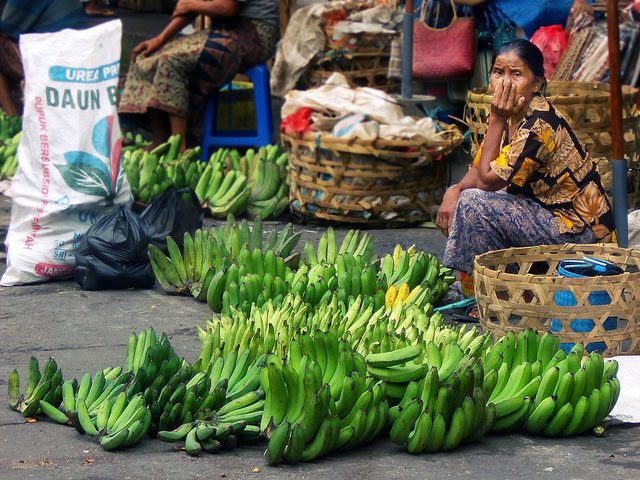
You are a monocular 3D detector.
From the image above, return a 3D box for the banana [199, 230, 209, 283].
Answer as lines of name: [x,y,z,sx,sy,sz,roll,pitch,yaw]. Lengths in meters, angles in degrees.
banana: [-0.708,0.097,5.014,0.057,0.301,0.095,-1,7,-22]

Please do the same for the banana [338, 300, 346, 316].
banana: [0.122,0.361,4.249,0.032,0.090,0.024,-2,29,3]

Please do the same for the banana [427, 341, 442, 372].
banana: [0.513,0.509,3.624,0.038,0.154,0.049,-8,0,27]

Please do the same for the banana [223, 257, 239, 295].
banana: [-0.510,0.204,4.717,0.047,0.196,0.063,16,-16,9]

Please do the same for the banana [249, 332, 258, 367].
banana: [-0.305,0.511,3.792,0.047,0.146,0.029,12,8,29]

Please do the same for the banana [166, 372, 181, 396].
banana: [-0.627,0.614,3.528,0.030,0.119,0.041,31,-37,-11]

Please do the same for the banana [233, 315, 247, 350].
banana: [-0.370,0.439,3.919,0.034,0.178,0.062,22,-14,1]

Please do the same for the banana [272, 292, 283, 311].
banana: [-0.218,0.315,4.290,0.028,0.115,0.038,-1,-40,40]

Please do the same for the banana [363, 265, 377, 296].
banana: [0.297,0.224,4.587,0.062,0.191,0.044,-16,4,9]

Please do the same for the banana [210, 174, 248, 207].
banana: [-0.750,-0.401,6.713,0.100,0.295,0.064,32,-22,38]

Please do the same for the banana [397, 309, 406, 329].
banana: [0.416,0.390,4.088,0.020,0.032,0.120,12,44,10]

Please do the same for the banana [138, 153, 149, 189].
banana: [-1.460,-0.564,6.728,0.055,0.342,0.109,13,-10,-25]

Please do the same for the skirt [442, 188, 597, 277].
skirt: [1.209,-0.118,4.929,0.949,0.477,0.836,-2,13,2]

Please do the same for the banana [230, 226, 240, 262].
banana: [-0.524,0.025,5.026,0.050,0.199,0.068,0,-8,-12]

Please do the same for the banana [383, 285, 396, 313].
banana: [0.386,0.333,4.467,0.042,0.177,0.058,7,-20,14]

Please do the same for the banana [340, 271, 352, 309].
banana: [0.153,0.274,4.496,0.044,0.202,0.068,-2,-10,-6]

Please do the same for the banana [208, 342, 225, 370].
banana: [-0.479,0.529,3.769,0.029,0.128,0.045,26,-16,20]

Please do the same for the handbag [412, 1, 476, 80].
handbag: [1.028,-1.609,6.619,0.606,0.881,0.252,5,9,38]

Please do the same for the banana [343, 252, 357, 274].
banana: [0.181,0.121,4.794,0.038,0.156,0.053,-8,12,8]

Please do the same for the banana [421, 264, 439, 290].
banana: [0.681,0.211,4.871,0.051,0.176,0.113,23,11,26]

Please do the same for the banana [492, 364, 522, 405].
banana: [0.833,0.644,3.602,0.059,0.169,0.029,40,-21,-9]

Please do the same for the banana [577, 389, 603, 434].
banana: [1.196,0.735,3.548,0.051,0.226,0.070,3,23,-36]

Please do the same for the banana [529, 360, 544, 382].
banana: [0.986,0.578,3.655,0.032,0.132,0.045,16,5,-2]

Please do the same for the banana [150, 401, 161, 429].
banana: [-0.706,0.740,3.492,0.029,0.129,0.040,-8,4,-19]

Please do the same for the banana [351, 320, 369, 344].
banana: [0.193,0.443,3.905,0.032,0.047,0.127,17,51,23]

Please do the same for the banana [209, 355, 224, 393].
banana: [-0.458,0.608,3.680,0.049,0.158,0.033,25,-24,6]

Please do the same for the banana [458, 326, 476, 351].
banana: [0.704,0.469,3.854,0.041,0.163,0.059,12,-35,35]

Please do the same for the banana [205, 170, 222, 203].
banana: [-0.885,-0.468,6.820,0.073,0.350,0.115,22,-7,-17]

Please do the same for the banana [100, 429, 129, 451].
banana: [-0.846,0.825,3.348,0.114,0.099,0.067,0,5,-13]

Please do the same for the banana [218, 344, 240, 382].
banana: [-0.410,0.568,3.695,0.061,0.190,0.039,26,-26,1]

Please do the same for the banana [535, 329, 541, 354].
banana: [1.028,0.474,3.817,0.039,0.122,0.030,-3,8,22]

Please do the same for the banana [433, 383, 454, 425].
banana: [0.524,0.676,3.408,0.068,0.225,0.053,6,15,39]

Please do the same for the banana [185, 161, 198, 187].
banana: [-1.092,-0.567,6.900,0.052,0.244,0.080,25,-23,-22]

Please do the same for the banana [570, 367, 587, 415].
banana: [1.141,0.656,3.556,0.043,0.209,0.065,4,4,-15]

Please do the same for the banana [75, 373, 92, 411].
banana: [-1.026,0.659,3.550,0.035,0.143,0.044,20,-24,-19]

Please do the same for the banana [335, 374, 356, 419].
banana: [0.113,0.667,3.409,0.054,0.247,0.076,-13,25,-36]

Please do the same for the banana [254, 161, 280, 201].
banana: [-0.439,-0.493,6.874,0.058,0.345,0.117,18,-2,-33]

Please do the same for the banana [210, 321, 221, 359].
banana: [-0.495,0.474,3.870,0.035,0.151,0.025,-3,-8,32]

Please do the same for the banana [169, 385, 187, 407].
banana: [-0.591,0.664,3.493,0.058,0.084,0.109,5,6,32]

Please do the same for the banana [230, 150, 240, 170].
banana: [-0.737,-0.716,7.200,0.053,0.211,0.061,-32,-30,27]

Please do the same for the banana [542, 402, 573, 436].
banana: [1.051,0.793,3.582,0.057,0.227,0.079,2,44,-29]

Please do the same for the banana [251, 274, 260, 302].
banana: [-0.343,0.265,4.529,0.046,0.154,0.039,-3,9,27]

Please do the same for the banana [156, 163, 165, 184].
banana: [-1.301,-0.549,6.626,0.051,0.210,0.069,-6,7,-14]

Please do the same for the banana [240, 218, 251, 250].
banana: [-0.479,-0.051,5.239,0.044,0.178,0.050,-2,-5,3]

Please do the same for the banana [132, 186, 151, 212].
banana: [-1.377,-0.332,6.355,0.062,0.287,0.093,23,4,-18]

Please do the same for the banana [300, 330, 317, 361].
banana: [-0.050,0.467,3.594,0.042,0.173,0.056,-13,4,4]

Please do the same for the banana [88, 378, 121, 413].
banana: [-0.940,0.680,3.529,0.027,0.134,0.048,41,-9,8]

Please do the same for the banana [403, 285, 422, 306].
banana: [0.515,0.308,4.497,0.027,0.115,0.019,35,3,-5]

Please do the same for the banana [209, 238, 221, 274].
banana: [-0.630,0.094,4.956,0.056,0.225,0.072,-4,-1,3]

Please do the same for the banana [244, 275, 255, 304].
banana: [-0.384,0.270,4.489,0.038,0.167,0.052,-5,-5,-3]

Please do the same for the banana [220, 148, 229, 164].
banana: [-0.853,-0.762,7.312,0.039,0.053,0.158,12,50,13]

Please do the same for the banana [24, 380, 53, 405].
banana: [-1.238,0.672,3.582,0.029,0.113,0.041,37,-15,48]

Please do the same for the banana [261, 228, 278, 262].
banana: [-0.316,0.015,5.171,0.060,0.249,0.078,21,2,-3]

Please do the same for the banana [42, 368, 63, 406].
banana: [-1.177,0.646,3.590,0.046,0.191,0.065,22,-6,-13]

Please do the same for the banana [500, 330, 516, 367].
banana: [0.870,0.491,3.733,0.044,0.182,0.056,-1,5,-10]

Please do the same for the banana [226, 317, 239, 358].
banana: [-0.413,0.467,3.923,0.035,0.181,0.064,17,-13,22]

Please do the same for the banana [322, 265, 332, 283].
banana: [0.047,0.196,4.654,0.025,0.099,0.032,-5,-2,-24]
